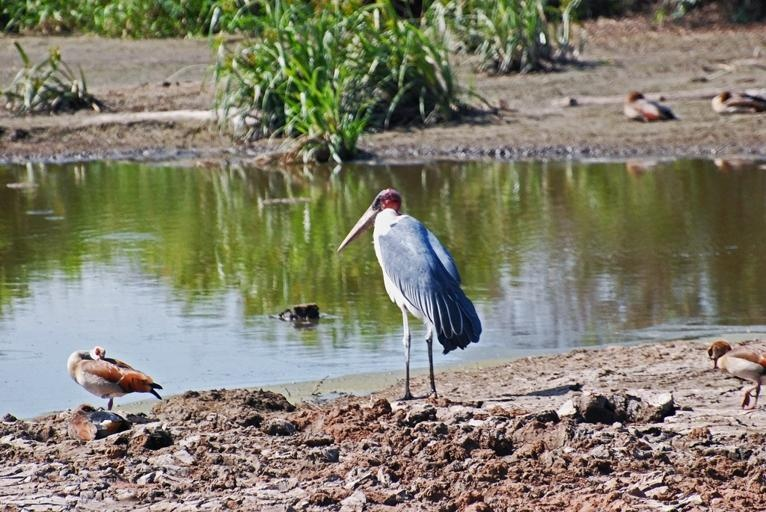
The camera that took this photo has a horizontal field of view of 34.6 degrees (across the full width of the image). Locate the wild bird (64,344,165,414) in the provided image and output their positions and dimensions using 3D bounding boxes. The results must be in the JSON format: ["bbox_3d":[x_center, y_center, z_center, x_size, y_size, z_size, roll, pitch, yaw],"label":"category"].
[{"bbox_3d":[-3.039,1.402,14.122,1.237,0.672,0.612,1,-4,11],"label":"wild bird"}]

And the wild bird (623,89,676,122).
[{"bbox_3d":[5.260,-3.091,24.976,0.584,0.430,0.935,-2,12,-23],"label":"wild bird"}]
